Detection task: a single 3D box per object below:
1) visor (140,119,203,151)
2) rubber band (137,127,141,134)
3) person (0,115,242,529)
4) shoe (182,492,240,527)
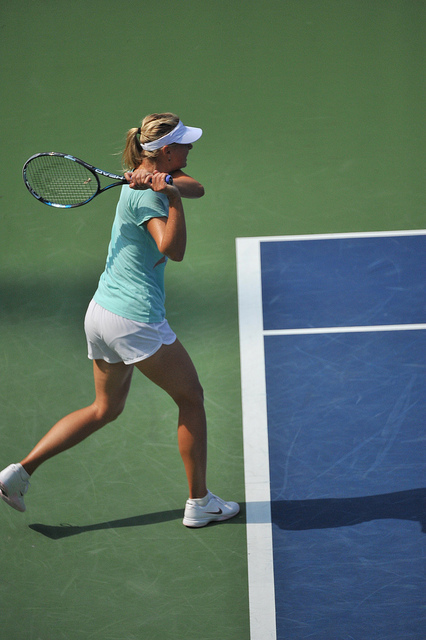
[{"bbox_3d":[-0.198,-0.921,3.667,0.283,0.077,0.155,-16,25,-2],"label":"visor"},{"bbox_3d":[-0.369,-0.954,3.695,0.031,0.025,0.027,2,23,-6],"label":"rubber band"},{"bbox_3d":[-0.350,0.002,4.155,1.257,2.252,1.233,7,16,2],"label":"person"},{"bbox_3d":[-0.019,1.037,4.134,0.399,0.165,0.133,-6,19,-22],"label":"shoe"}]
